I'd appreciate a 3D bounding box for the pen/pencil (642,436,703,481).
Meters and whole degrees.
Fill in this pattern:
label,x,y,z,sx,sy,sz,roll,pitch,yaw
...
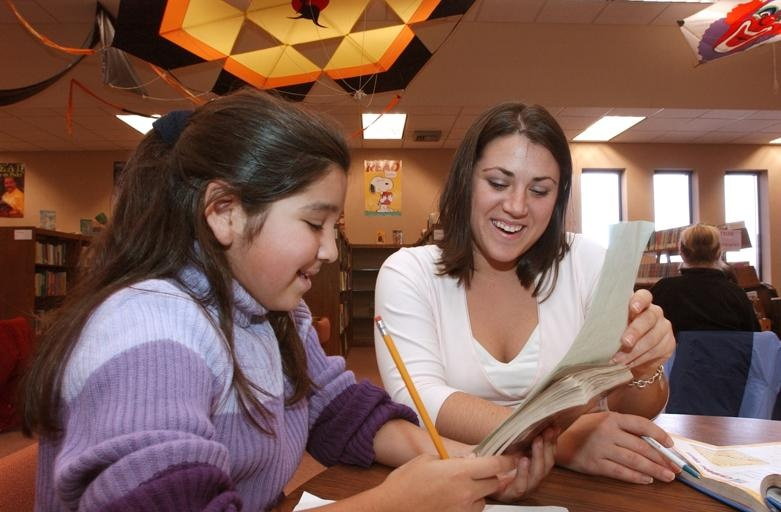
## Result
label,x,y,z,sx,sy,sz,roll,pitch,yaw
pen/pencil,0.858,0.625,1.710,0.171,0.020,0.019,40,39,20

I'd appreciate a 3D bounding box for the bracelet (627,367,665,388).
label,x,y,z,sx,sy,sz,roll,pitch,yaw
bracelet,0.921,0.442,2.004,0.110,0.029,0.088,-24,-29,-13
